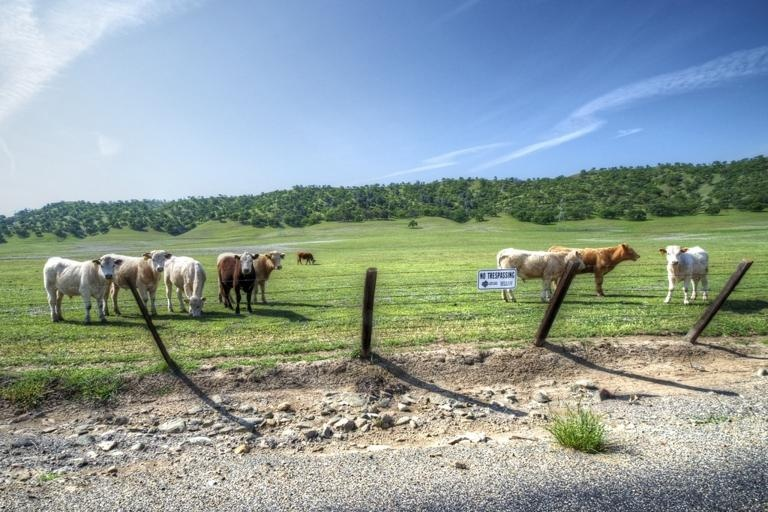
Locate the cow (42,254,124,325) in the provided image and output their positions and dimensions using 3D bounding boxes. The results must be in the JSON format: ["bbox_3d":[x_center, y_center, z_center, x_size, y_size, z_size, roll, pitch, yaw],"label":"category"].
[{"bbox_3d":[-11.126,1.153,18.404,2.931,2.292,1.940,3,9,45],"label":"cow"}]

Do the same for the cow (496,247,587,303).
[{"bbox_3d":[6.368,0.721,20.866,3.033,2.013,1.753,-1,7,17],"label":"cow"}]
